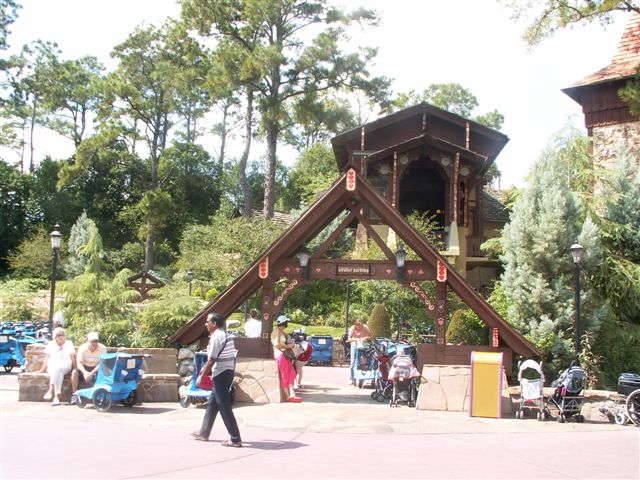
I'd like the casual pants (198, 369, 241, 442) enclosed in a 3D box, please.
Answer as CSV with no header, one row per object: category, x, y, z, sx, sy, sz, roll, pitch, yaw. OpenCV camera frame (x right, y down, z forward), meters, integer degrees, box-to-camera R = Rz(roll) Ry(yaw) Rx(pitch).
casual pants,-2.448,4.078,18.862,1.007,1.722,0.563,-3,-11,25

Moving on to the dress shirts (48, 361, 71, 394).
dress shirts,-7.443,3.811,21.796,0.630,0.457,1.029,-11,19,-8

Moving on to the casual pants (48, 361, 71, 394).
casual pants,-7.452,3.803,21.807,0.636,0.441,1.058,-9,19,-11

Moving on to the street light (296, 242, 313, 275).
street light,-0.486,0.652,23.594,0.392,1.116,0.803,2,-10,-1

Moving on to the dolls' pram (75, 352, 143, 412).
dolls' pram,-5.796,3.963,21.214,1.621,1.584,0.842,4,-10,-11

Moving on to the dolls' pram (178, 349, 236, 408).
dolls' pram,-3.624,4.042,22.261,1.420,1.328,1.203,-14,-16,33

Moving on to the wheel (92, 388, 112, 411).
wheel,-5.985,4.377,21.056,0.577,0.673,0.247,-1,-5,3

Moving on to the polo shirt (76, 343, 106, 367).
polo shirt,-6.539,3.303,21.871,0.568,0.535,0.295,3,-11,-12

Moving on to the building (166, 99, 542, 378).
building,3.717,-1.172,32.433,10.941,13.432,21.394,-2,-11,18

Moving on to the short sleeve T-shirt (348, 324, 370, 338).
short sleeve T-shirt,1.330,3.225,25.823,0.689,0.597,0.411,-1,-8,5

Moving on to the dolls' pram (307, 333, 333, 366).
dolls' pram,0.010,4.342,31.084,1.181,1.347,1.487,2,3,-18

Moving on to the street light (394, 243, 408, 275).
street light,2.437,0.634,23.281,0.307,1.113,0.875,1,-11,6

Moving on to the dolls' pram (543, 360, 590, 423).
dolls' pram,6.942,4.328,21.501,0.952,1.548,0.664,-1,-10,14

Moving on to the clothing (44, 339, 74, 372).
clothing,-7.519,3.357,22.225,0.812,1.003,0.531,8,-1,-5
